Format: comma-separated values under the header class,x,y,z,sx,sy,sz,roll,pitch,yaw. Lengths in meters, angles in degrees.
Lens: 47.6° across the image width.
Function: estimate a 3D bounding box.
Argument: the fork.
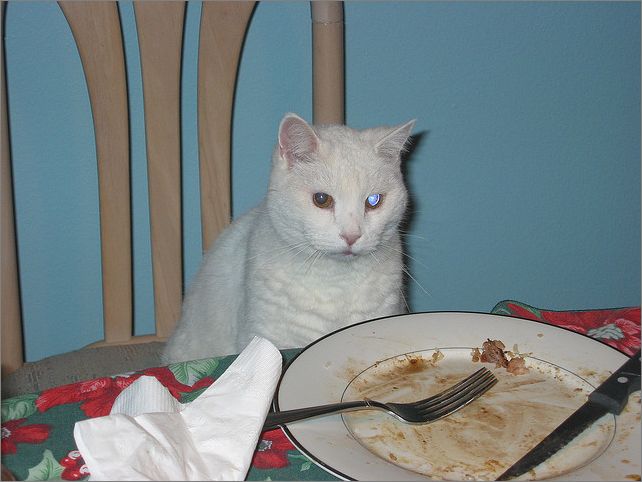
class,x,y,z,sx,sy,sz,roll,pitch,yaw
fork,0.120,0.341,1.536,0.576,0.077,0.076,-5,22,-7
